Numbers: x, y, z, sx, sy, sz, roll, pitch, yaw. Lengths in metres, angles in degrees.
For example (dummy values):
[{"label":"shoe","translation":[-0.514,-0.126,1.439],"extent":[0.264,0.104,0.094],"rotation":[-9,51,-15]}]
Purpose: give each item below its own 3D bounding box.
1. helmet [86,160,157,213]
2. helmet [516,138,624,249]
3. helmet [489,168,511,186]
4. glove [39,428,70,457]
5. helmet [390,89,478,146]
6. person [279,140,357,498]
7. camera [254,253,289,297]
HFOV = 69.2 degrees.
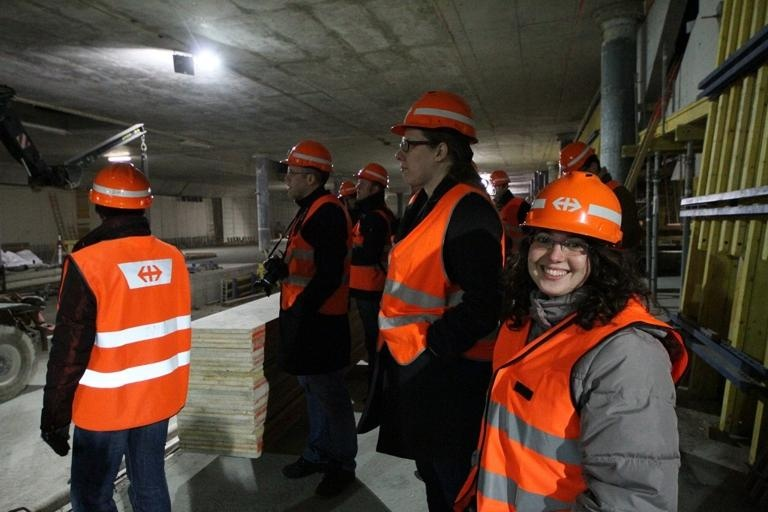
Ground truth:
[{"label":"helmet","translation":[-2.397,-0.600,5.134],"extent":[0.502,0.326,0.488],"rotation":[8,19,-24]},{"label":"helmet","translation":[1.348,-0.362,3.888],"extent":[0.515,0.323,0.654],"rotation":[19,4,32]},{"label":"helmet","translation":[2.237,-1.503,10.726],"extent":[0.319,0.293,0.398],"rotation":[-4,22,-31]},{"label":"glove","translation":[-2.822,1.610,4.827],"extent":[0.183,0.325,0.326],"rotation":[-1,6,-28]},{"label":"helmet","translation":[0.440,-1.158,4.742],"extent":[0.576,0.268,0.431],"rotation":[16,5,0]},{"label":"person","translation":[-0.702,0.636,5.983],"extent":[0.890,3.746,0.641],"rotation":[2,5,4]},{"label":"camera","translation":[-1.181,0.226,6.054],"extent":[0.336,0.435,0.185],"rotation":[42,12,15]}]
